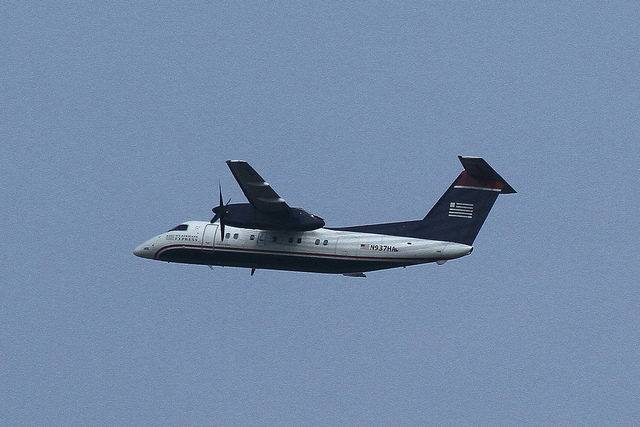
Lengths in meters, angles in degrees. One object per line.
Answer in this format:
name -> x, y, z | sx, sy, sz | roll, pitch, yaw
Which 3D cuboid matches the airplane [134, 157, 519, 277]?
airplane -> -0.493, 0.170, 54.091 | 13.951, 13.662, 3.699 | 2, 80, 11
